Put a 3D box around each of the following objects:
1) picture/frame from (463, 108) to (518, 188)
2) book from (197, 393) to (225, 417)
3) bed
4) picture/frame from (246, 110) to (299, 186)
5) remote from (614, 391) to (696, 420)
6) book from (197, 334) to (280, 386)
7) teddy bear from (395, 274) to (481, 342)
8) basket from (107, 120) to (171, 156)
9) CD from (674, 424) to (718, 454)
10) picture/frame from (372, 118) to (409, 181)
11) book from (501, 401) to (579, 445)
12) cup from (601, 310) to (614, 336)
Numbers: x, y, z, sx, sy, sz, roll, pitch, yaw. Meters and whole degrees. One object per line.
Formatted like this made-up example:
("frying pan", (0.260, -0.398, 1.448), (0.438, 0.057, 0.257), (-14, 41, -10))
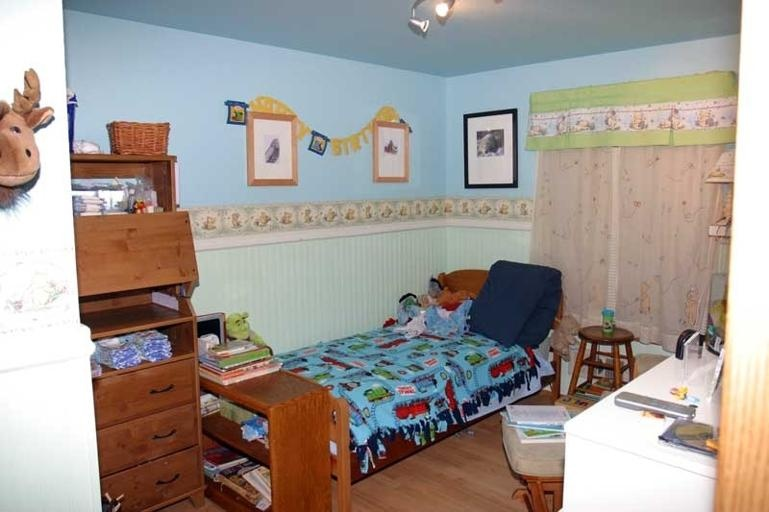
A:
("picture/frame", (1.112, -1.127, 5.452), (0.843, 0.992, 0.045), (5, 11, 44))
("book", (-1.234, 1.058, 3.827), (0.151, 0.039, 0.152), (6, 8, 39))
("bed", (0.194, 0.783, 4.175), (1.399, 0.886, 1.994), (3, 5, 43))
("picture/frame", (-0.938, -0.914, 4.430), (0.649, 0.734, 0.038), (-6, 11, -44))
("remote", (1.230, 0.681, 2.442), (0.239, 0.032, 0.116), (1, 4, 38))
("book", (-0.924, 0.678, 3.470), (0.315, 0.094, 0.317), (5, 6, 37))
("teddy bear", (0.522, 0.491, 5.058), (0.463, 0.243, 0.587), (3, 13, 40))
("basket", (-1.492, -0.733, 3.317), (0.320, 0.212, 0.091), (-9, 14, -18))
("CD", (1.261, 0.718, 2.165), (0.146, 0.035, 0.219), (3, 14, 28))
("picture/frame", (0.054, -1.076, 5.291), (0.075, 0.665, 0.643), (5, 8, 43))
("book", (0.982, 1.049, 3.390), (0.392, 0.062, 0.385), (-4, 13, 2))
("cup", (1.874, 0.538, 4.476), (0.089, 0.177, 0.230), (0, 14, 20))
